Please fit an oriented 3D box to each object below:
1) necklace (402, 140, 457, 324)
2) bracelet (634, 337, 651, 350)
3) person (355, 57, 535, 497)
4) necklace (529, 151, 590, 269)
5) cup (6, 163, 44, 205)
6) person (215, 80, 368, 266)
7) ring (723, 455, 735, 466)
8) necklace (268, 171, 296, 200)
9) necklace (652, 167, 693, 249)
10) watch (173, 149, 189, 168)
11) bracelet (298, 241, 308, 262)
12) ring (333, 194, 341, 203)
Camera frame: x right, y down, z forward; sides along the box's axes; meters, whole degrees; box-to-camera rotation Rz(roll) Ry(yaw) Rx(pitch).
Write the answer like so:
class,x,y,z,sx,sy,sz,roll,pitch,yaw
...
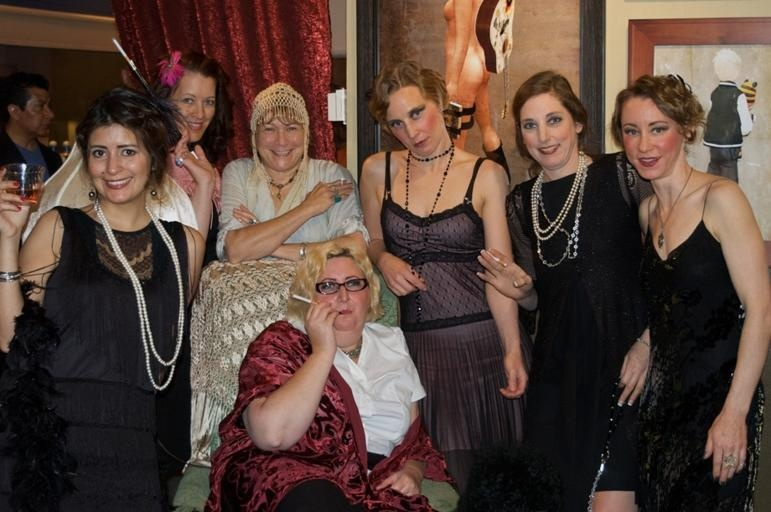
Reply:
class,x,y,z,sx,sy,sz,roll,pitch,yaw
necklace,0.197,-0.141,2.968,0.197,0.866,0.035,-6,-25,35
bracelet,1.016,0.346,2.582,0.020,0.021,0.056,5,14,-42
person,0.319,0.301,3.044,0.828,2.294,0.674,14,30,41
necklace,0.742,-0.178,2.738,0.255,0.469,0.078,-9,-20,43
cup,-1.328,-0.260,2.428,0.125,0.152,0.136,0,-2,0
person,-0.483,-0.365,3.316,0.857,1.197,0.749,-2,10,-11
ring,1.222,0.726,2.321,0.033,0.037,0.014,-1,-8,6
necklace,-0.496,-0.341,3.163,0.121,0.136,0.019,0,10,5
necklace,1.101,-0.148,2.511,0.093,0.392,0.055,13,-1,34
watch,-1.007,-0.484,3.201,0.044,0.109,0.100,8,5,24
bracelet,-0.368,-0.018,2.995,0.057,0.066,0.064,5,-36,9
ring,-0.223,-0.266,3.052,0.034,0.030,0.051,-2,-4,32
